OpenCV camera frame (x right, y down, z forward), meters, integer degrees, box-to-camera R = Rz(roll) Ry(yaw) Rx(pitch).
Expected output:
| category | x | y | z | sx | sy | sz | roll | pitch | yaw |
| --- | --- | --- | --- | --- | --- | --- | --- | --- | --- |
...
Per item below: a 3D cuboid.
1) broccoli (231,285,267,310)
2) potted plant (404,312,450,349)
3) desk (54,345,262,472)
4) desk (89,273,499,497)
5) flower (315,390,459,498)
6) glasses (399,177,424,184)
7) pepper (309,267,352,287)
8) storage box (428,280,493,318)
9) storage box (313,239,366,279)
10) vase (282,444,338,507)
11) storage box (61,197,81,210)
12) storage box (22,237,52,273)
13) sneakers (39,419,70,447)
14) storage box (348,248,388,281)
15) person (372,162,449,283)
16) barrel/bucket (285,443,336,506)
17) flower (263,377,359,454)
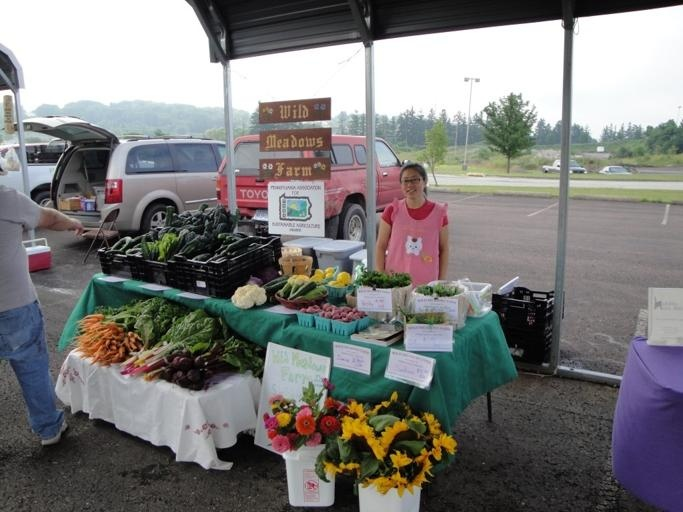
| category | x | y | z | sx | sy | sz | roll | pitch | yaw |
| --- | --- | --- | --- | --- | --- | --- | --- | --- | --- |
| broccoli | -0.770 | 0.348 | 3.914 | 0.298 | 0.181 | 0.202 | -2 | 9 | -16 |
| potted plant | 0.581 | 0.492 | 3.089 | 0.216 | 0.155 | 0.235 | 1 | 1 | 9 |
| desk | -1.653 | 1.100 | 4.243 | 1.734 | 0.567 | 1.122 | 17 | 25 | 15 |
| desk | -1.125 | 0.823 | 3.842 | 2.691 | 0.717 | 1.698 | 16 | 25 | 27 |
| flower | 0.323 | 1.230 | 3.065 | 0.669 | 0.351 | 0.704 | 2 | 1 | -11 |
| glasses | 0.647 | -0.680 | 4.205 | 0.187 | 0.057 | 0.070 | 2 | 9 | 6 |
| pepper | -0.076 | 0.199 | 4.069 | 0.169 | 0.094 | 0.263 | -7 | 6 | -36 |
| storage box | 0.991 | 0.311 | 3.722 | 0.374 | 0.314 | 0.429 | -1 | 11 | -39 |
| storage box | -0.021 | 0.043 | 5.924 | 0.355 | 0.361 | 0.533 | 5 | 9 | 33 |
| vase | -0.195 | 1.557 | 3.452 | 0.415 | 0.453 | 0.361 | 0 | 3 | 2 |
| storage box | -5.667 | -1.071 | 9.765 | 0.301 | 0.206 | 0.310 | 4 | 5 | 32 |
| storage box | -5.136 | 0.006 | 7.869 | 0.278 | 0.548 | 0.545 | 6 | 11 | 29 |
| sneakers | -2.498 | 1.540 | 4.059 | 0.085 | 0.120 | 0.267 | 5 | 17 | -2 |
| storage box | 0.220 | 0.048 | 5.420 | 0.242 | 0.385 | 0.380 | 2 | 11 | 23 |
| person | 0.668 | -0.289 | 4.458 | 0.582 | 1.191 | 0.574 | 3 | 11 | -8 |
| barrel/bucket | -0.186 | 1.549 | 3.446 | 0.410 | 0.447 | 0.359 | 0 | 3 | 2 |
| flower | -0.294 | 1.211 | 3.315 | 0.551 | 0.363 | 0.680 | -2 | 13 | 11 |
